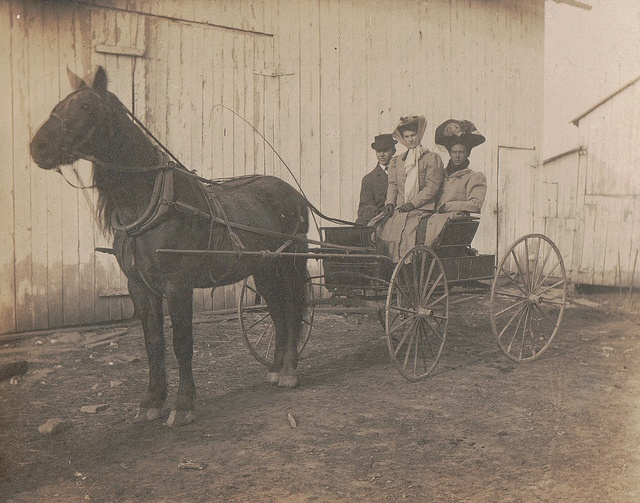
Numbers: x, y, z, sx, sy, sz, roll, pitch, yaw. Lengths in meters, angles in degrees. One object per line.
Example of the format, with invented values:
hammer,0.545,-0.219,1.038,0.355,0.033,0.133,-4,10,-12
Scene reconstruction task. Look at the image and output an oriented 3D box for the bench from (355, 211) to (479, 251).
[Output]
bench,1.097,-0.300,9.258,0.857,0.319,0.632,1,-2,-16
